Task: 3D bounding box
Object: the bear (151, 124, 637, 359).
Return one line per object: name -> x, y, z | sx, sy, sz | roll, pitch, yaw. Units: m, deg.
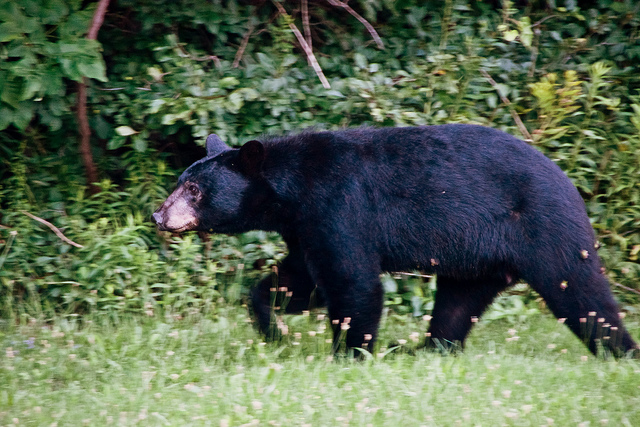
bear -> 1.545, 0.024, 7.073 | 6.069, 2.327, 1.520 | 0, -1, 1
